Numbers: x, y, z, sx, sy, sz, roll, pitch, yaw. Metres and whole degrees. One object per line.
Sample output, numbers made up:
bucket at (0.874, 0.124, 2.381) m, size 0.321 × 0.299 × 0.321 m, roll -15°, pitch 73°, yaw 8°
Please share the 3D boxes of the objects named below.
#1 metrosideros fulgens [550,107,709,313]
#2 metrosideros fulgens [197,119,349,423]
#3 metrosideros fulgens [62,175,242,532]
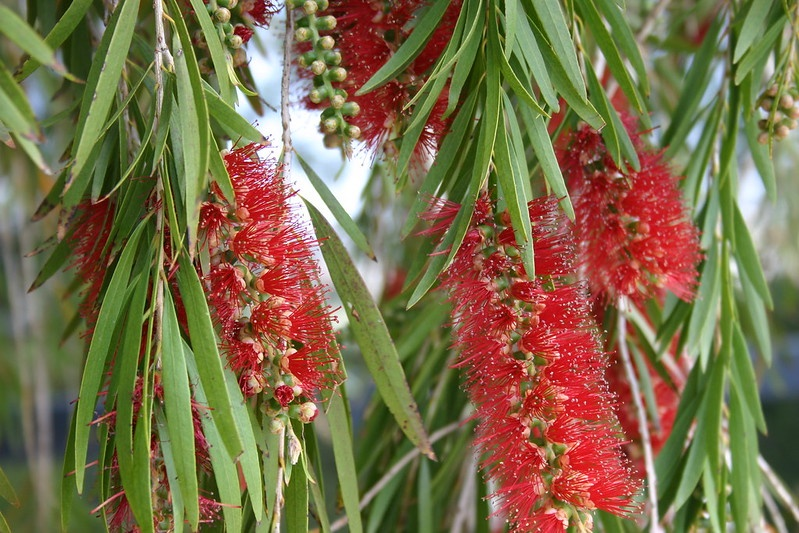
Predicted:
metrosideros fulgens at (0.370, -0.076, 2.017) m, size 0.176 × 0.336 × 0.180 m, roll -27°, pitch 1°, yaw 43°
metrosideros fulgens at (-0.198, 0.042, 1.929) m, size 0.171 × 0.471 × 0.217 m, roll -20°, pitch -6°, yaw 25°
metrosideros fulgens at (-0.380, 0.082, 1.859) m, size 0.218 × 0.607 × 0.191 m, roll 3°, pitch -11°, yaw -40°
